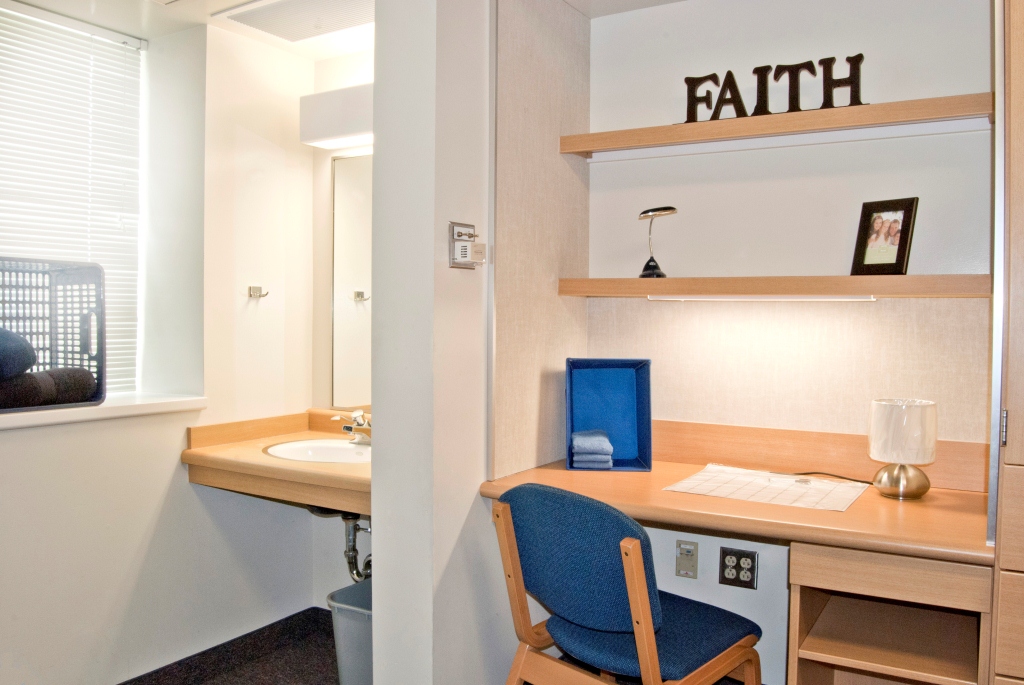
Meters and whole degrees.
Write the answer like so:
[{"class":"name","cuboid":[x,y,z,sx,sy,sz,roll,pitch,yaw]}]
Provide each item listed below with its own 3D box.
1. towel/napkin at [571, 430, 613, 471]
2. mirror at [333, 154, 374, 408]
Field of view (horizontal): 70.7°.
[{"class":"towel/napkin","cuboid":[0.297,0.406,2.742,0.136,0.049,0.134,-1,6,-3]},{"class":"mirror","cuboid":[-0.807,-0.296,3.603,0.209,1.238,0.415,-2,15,-13]}]
